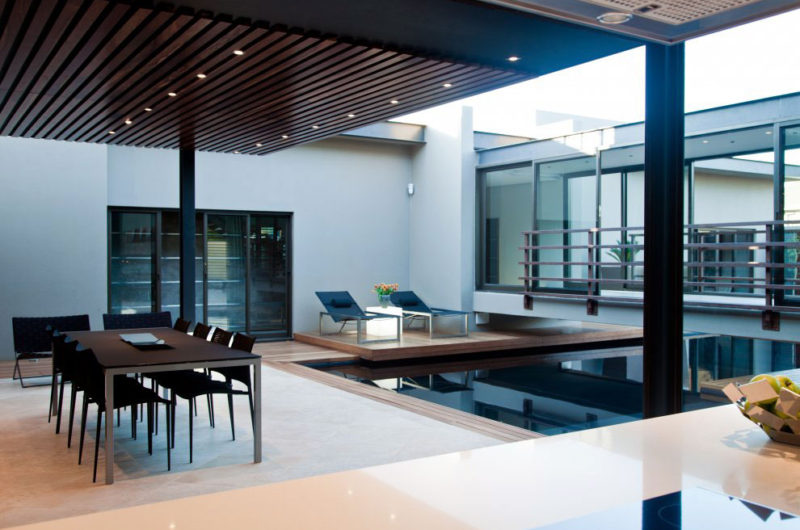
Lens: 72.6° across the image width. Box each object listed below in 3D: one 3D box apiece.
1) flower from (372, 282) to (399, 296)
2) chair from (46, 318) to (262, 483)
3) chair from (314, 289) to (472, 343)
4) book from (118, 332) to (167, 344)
[{"bbox_3d":[-0.342,0.533,11.783,0.401,0.178,0.373,2,-5,-34],"label":"flower"},{"bbox_3d":[-2.453,1.266,5.575,1.529,1.097,2.122,0,2,-30],"label":"chair"},{"bbox_3d":[-0.237,1.020,11.524,2.655,0.971,2.190,0,2,-28],"label":"chair"},{"bbox_3d":[-2.750,0.797,5.827,0.243,0.052,0.431,1,3,-28],"label":"book"}]
